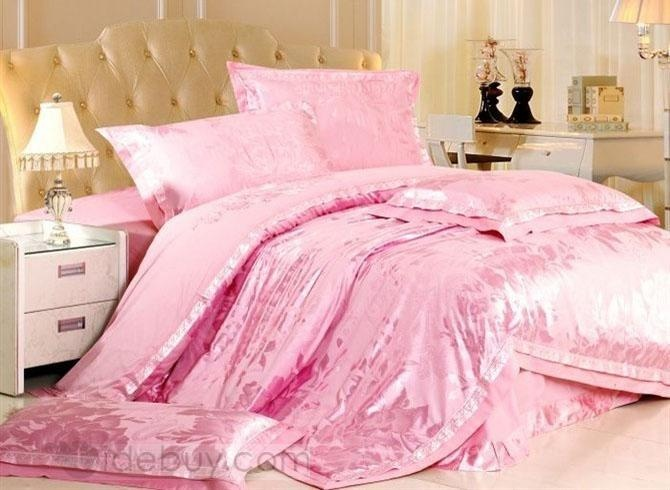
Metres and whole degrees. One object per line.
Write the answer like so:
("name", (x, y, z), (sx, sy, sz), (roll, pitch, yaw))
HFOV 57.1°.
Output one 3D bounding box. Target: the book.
("book", (1.659, -0.872, 4.057), (0.429, 0.409, 0.386), (-1, 0, -14))
